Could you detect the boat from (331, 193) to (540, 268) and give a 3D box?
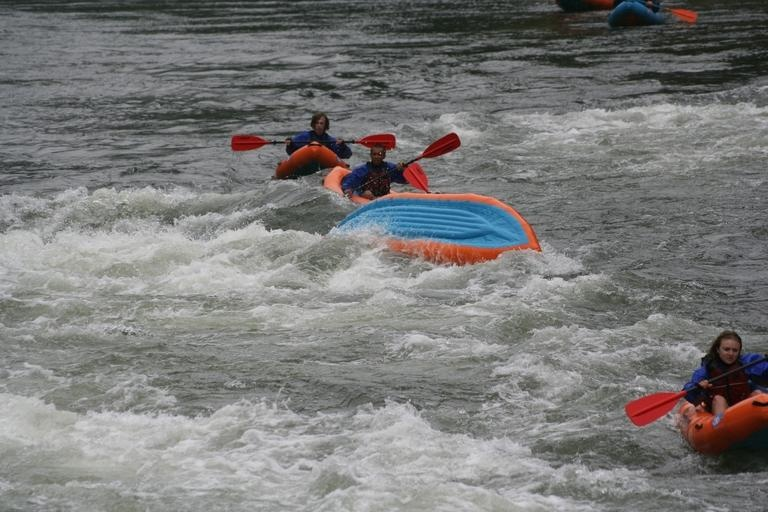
[{"bbox_3d":[0.955,-0.444,17.504,2.623,0.926,1.225,13,22,39],"label":"boat"}]

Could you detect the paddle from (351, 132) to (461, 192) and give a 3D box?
[{"bbox_3d":[0.438,-1.704,19.760,2.510,0.357,0.214,-16,2,5],"label":"paddle"}]

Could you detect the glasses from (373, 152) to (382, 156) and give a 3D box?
[{"bbox_3d":[-0.079,-1.702,19.349,0.177,0.086,0.051,-1,24,-2],"label":"glasses"}]
